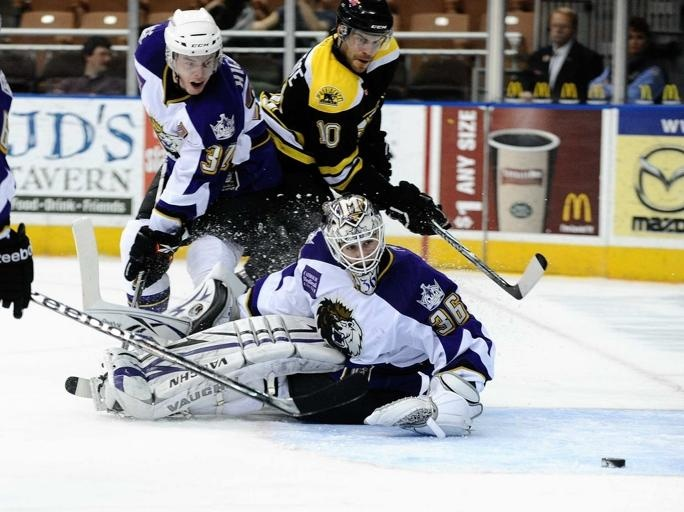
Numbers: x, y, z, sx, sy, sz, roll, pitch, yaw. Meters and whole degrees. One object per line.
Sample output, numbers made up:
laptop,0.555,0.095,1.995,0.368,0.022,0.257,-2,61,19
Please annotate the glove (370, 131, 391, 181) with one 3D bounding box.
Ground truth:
glove,0.225,-0.552,6.137,0.090,0.218,0.176,1,24,11

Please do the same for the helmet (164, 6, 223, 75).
helmet,-0.656,-1.014,5.287,0.283,0.286,0.294,-4,-31,-6

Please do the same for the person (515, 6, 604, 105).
person,1.594,-1.500,8.211,0.731,0.313,0.981,7,-35,15

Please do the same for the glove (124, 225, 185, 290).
glove,-0.925,-0.017,5.509,0.221,0.341,0.137,32,23,-14

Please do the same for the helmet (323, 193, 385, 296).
helmet,0.119,-0.030,4.975,0.253,0.297,0.339,-15,-7,-22

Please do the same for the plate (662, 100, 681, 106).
plate,2.356,-1.105,8.097,0.126,0.033,0.113,4,12,12
